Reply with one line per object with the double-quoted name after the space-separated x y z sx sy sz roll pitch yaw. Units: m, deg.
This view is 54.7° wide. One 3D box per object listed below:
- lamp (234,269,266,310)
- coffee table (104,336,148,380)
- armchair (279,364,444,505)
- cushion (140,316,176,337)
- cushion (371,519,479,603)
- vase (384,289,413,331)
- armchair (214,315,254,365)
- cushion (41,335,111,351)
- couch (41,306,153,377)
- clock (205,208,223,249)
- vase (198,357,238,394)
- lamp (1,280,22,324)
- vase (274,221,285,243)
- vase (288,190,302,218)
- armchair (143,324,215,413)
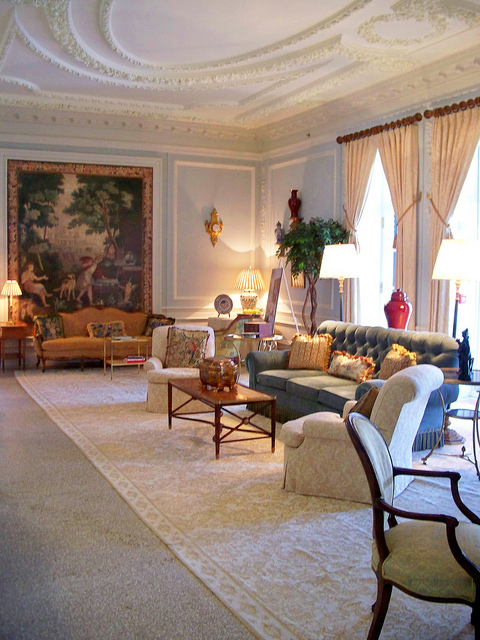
0.216 -0.556 8.726 0.658 0.838 0.669 -4 1 -41 "lamp"
-1.743 0.470 7.217 0.741 0.773 0.588 -1 2 -22 "coffee table"
0.743 0.669 2.958 0.890 0.850 0.680 -1 2 32 "armchair"
-1.452 0.054 7.877 0.373 0.425 0.137 -1 -18 21 "cushion"
0.542 0.680 1.376 0.231 0.178 0.318 1 0 18 "cushion"
1.627 -0.113 4.740 0.255 0.458 0.271 -16 25 -9 "vase"
-0.152 0.470 7.700 0.656 0.886 0.713 10 -26 -3 "armchair"
-2.625 0.384 7.253 0.916 0.186 0.227 1 0 -14 "cushion"
-2.308 0.320 7.586 1.749 1.069 0.684 0 8 -15 "couch"
-0.493 -1.697 8.532 0.342 0.694 0.092 1 1 -26 "clock"
-0.182 0.451 3.878 0.272 0.259 0.284 0 1 -6 "vase"
-3.628 -0.295 7.323 0.264 0.707 0.363 1 1 -29 "lamp"
0.676 -1.559 8.143 0.131 0.273 0.255 1 0 -20 "vase"
0.896 -1.919 7.665 0.189 0.329 0.151 1 0 -18 "vase"
-0.670 0.525 5.132 0.750 0.943 0.786 3 -3 -17 "armchair"
